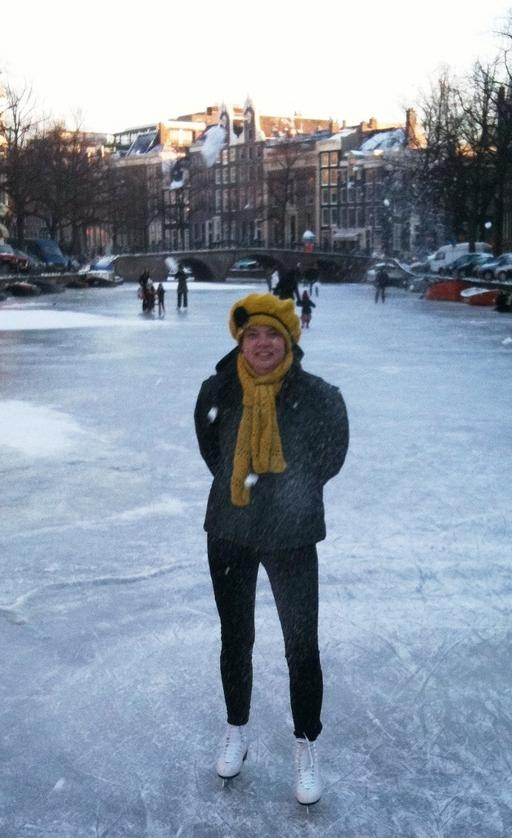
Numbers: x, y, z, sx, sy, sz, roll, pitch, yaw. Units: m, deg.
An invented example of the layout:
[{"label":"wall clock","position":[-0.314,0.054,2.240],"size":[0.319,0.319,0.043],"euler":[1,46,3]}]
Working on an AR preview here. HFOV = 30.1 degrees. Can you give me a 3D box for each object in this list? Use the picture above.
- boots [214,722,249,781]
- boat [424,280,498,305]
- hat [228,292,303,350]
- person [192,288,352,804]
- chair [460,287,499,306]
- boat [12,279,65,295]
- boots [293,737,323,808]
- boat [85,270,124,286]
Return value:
[{"label":"boots","position":[-0.060,0.960,2.749],"size":[0.065,0.098,0.221],"euler":[3,7,13]},{"label":"boat","position":[8.161,-4.926,37.342],"size":[0.850,0.684,2.706],"euler":[-3,8,-20]},{"label":"hat","position":[0.026,-0.270,2.582],"size":[0.182,0.139,0.217],"euler":[0,8,1]},{"label":"person","position":[0.028,0.346,2.609],"size":[0.433,1.362,0.287],"euler":[2,7,15]},{"label":"chair","position":[8.264,-4.483,34.947],"size":[0.889,0.681,3.984],"euler":[1,8,7]},{"label":"boat","position":[-10.094,-5.915,43.425],"size":[0.649,0.744,2.589],"euler":[24,18,17]},{"label":"boots","position":[0.142,0.968,2.598],"size":[0.066,0.157,0.213],"euler":[-2,-3,1]},{"label":"boat","position":[-9.228,-8.491,57.560],"size":[1.586,1.078,3.326],"euler":[10,6,-10]}]
